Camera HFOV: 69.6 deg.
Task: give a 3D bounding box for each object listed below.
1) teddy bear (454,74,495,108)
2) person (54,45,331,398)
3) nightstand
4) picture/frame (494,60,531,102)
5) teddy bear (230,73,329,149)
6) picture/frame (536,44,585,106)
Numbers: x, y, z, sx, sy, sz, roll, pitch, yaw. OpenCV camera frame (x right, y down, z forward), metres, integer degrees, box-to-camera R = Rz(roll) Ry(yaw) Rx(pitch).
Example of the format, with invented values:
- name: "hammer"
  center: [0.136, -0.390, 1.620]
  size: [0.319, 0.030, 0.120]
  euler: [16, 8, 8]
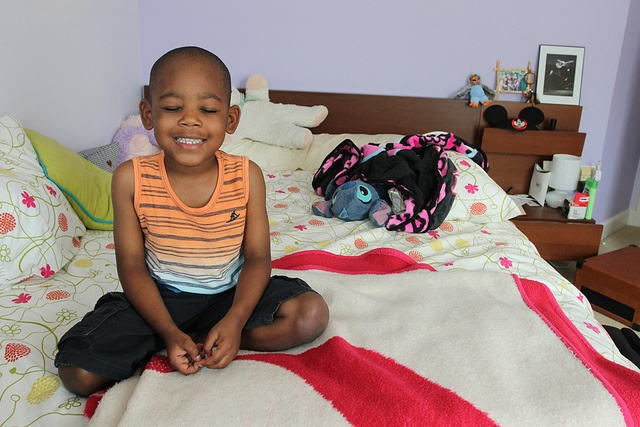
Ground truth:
- name: "teddy bear"
  center: [1.095, -0.837, 3.346]
  size: [0.390, 0.279, 0.212]
  euler: [-1, 10, 8]
- name: "person"
  center: [-0.455, 0.022, 1.515]
  size: [0.868, 1.066, 0.505]
  euler: [-8, 23, -23]
- name: "nightstand"
  center: [1.572, 0.142, 3.012]
  size: [0.589, 0.259, 0.296]
  euler: [1, 27, 2]
- name: "picture/frame"
  center: [1.379, -0.964, 3.309]
  size: [0.317, 0.308, 0.016]
  euler: [1, 12, 5]
- name: "teddy bear"
  center: [-0.335, -0.670, 3.291]
  size: [0.616, 0.244, 0.583]
  euler: [12, 50, 12]
- name: "picture/frame"
  center: [1.706, -0.997, 3.264]
  size: [0.426, 0.515, 0.025]
  euler: [3, 8, 3]
